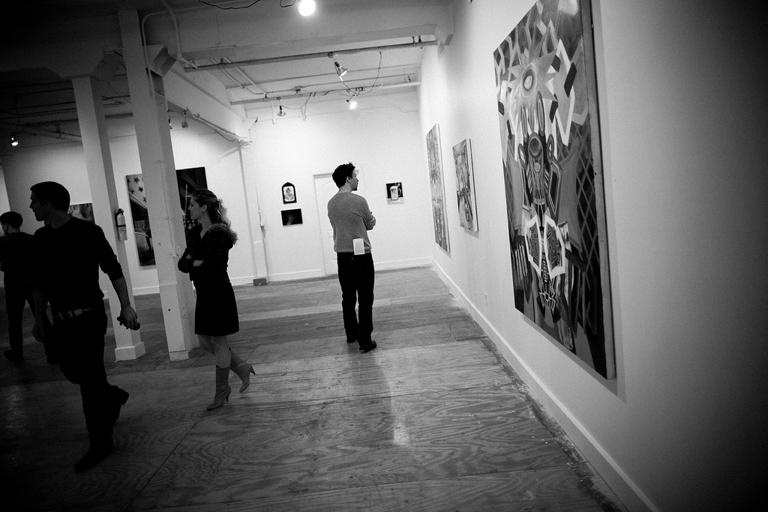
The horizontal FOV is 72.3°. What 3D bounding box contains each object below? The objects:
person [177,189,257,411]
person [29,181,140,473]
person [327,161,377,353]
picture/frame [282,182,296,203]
[{"bbox_3d":[-1.650,0.450,5.177,0.567,2.166,0.361,-11,12,-25],"label":"person"},{"bbox_3d":[-2.651,0.545,4.691,0.689,2.414,0.935,-13,13,-35],"label":"person"},{"bbox_3d":[-0.349,0.037,6.458,0.541,2.282,0.693,-7,11,-6],"label":"person"},{"bbox_3d":[-2.269,-1.537,12.538,0.437,0.702,0.069,-1,2,-2],"label":"picture/frame"}]
